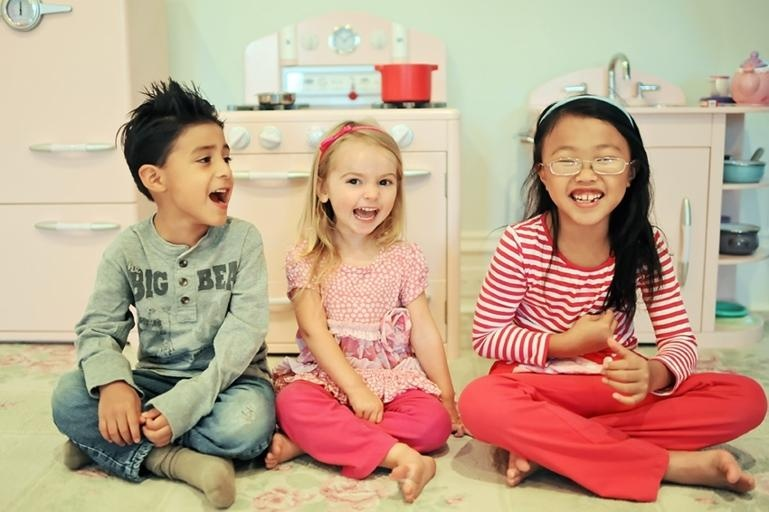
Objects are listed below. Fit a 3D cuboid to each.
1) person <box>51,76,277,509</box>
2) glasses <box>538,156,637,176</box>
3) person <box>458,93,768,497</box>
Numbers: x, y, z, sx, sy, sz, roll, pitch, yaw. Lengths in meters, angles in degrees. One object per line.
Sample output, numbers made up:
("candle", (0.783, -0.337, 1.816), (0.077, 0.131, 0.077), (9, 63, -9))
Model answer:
("person", (-0.559, 0.055, 1.541), (0.508, 0.927, 0.381), (-3, 11, 1))
("glasses", (0.505, -0.223, 1.570), (0.207, 0.048, 0.070), (0, 11, 17))
("person", (0.548, 0.066, 1.542), (0.706, 0.912, 0.451), (-1, 12, 15))
